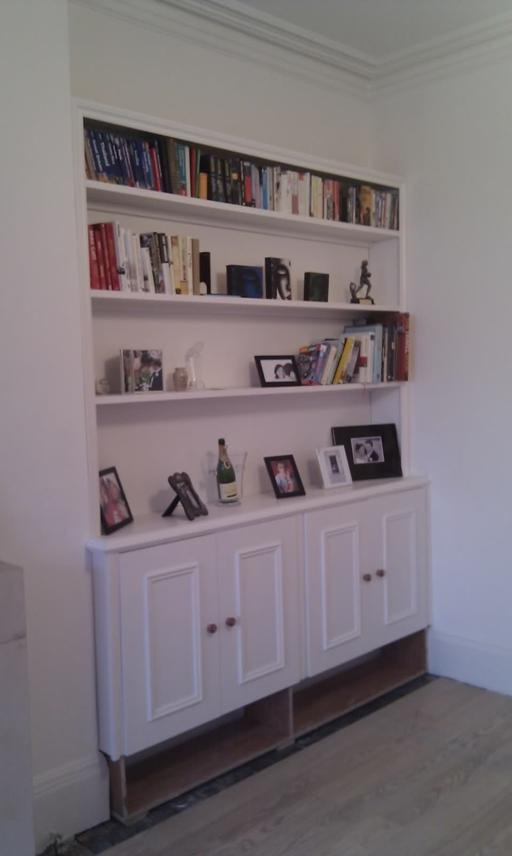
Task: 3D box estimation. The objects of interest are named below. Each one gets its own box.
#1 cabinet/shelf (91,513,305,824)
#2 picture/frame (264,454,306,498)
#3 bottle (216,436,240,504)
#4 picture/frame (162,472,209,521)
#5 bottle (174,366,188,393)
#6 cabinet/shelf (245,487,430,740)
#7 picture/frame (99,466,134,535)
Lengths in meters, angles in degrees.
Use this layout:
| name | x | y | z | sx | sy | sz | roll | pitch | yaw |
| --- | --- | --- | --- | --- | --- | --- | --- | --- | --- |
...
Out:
| name | x | y | z | sx | sy | sz | roll | pitch | yaw |
| --- | --- | --- | --- | --- | --- | --- | --- | --- | --- |
| cabinet/shelf | -0.203 | 0.762 | 2.004 | 0.265 | 0.896 | 0.817 | -1 | 2 | 40 |
| picture/frame | 0.106 | 0.197 | 2.547 | 0.010 | 0.160 | 0.135 | -22 | -5 | 37 |
| bottle | -0.102 | 0.157 | 2.302 | 0.084 | 0.242 | 0.113 | -1 | 1 | -6 |
| picture/frame | -0.244 | 0.221 | 2.125 | 0.145 | 0.204 | 0.139 | -3 | -1 | 37 |
| bottle | -0.257 | -0.164 | 2.148 | 0.062 | 0.094 | 0.070 | 0 | 11 | -6 |
| cabinet/shelf | 0.393 | 0.734 | 2.695 | 0.873 | 0.909 | 0.310 | 0 | -2 | -43 |
| picture/frame | -0.447 | 0.231 | 1.999 | 0.011 | 0.178 | 0.176 | -16 | -7 | 17 |
